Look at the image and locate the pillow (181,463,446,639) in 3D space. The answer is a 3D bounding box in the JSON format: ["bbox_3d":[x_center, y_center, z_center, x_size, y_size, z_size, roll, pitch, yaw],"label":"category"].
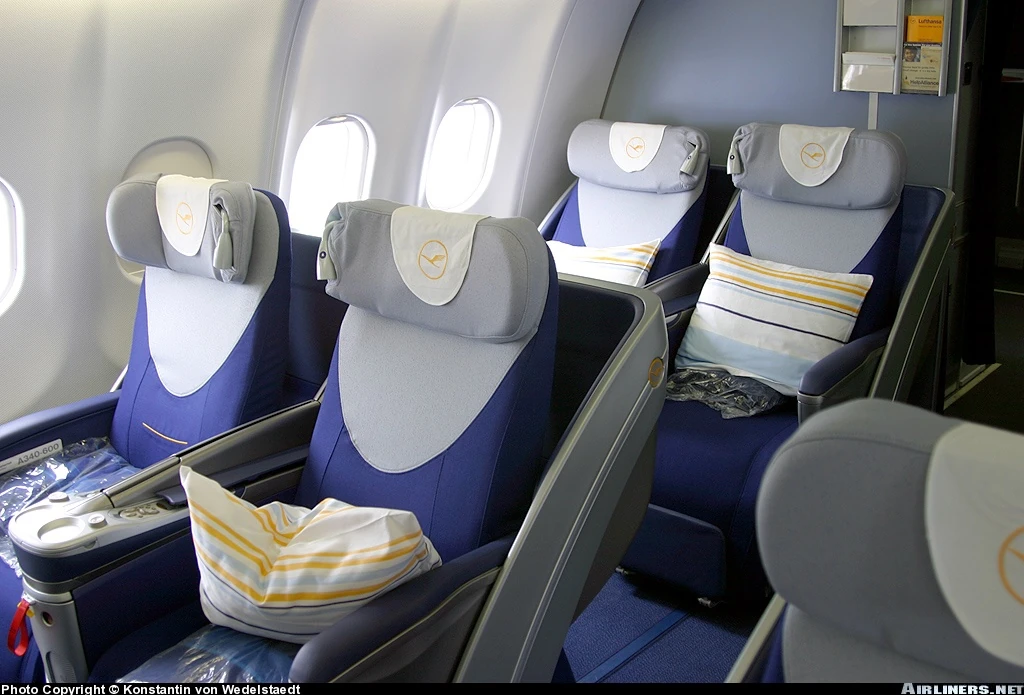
[{"bbox_3d":[-0.396,0.418,1.583,0.502,0.211,0.508,5,15,16],"label":"pillow"}]

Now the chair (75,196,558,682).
[{"bbox_3d":[-0.379,-0.005,1.900,0.797,1.222,1.068,19,22,30],"label":"chair"}]

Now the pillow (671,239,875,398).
[{"bbox_3d":[0.972,-0.098,2.661,0.574,0.416,0.413,18,25,26],"label":"pillow"}]
